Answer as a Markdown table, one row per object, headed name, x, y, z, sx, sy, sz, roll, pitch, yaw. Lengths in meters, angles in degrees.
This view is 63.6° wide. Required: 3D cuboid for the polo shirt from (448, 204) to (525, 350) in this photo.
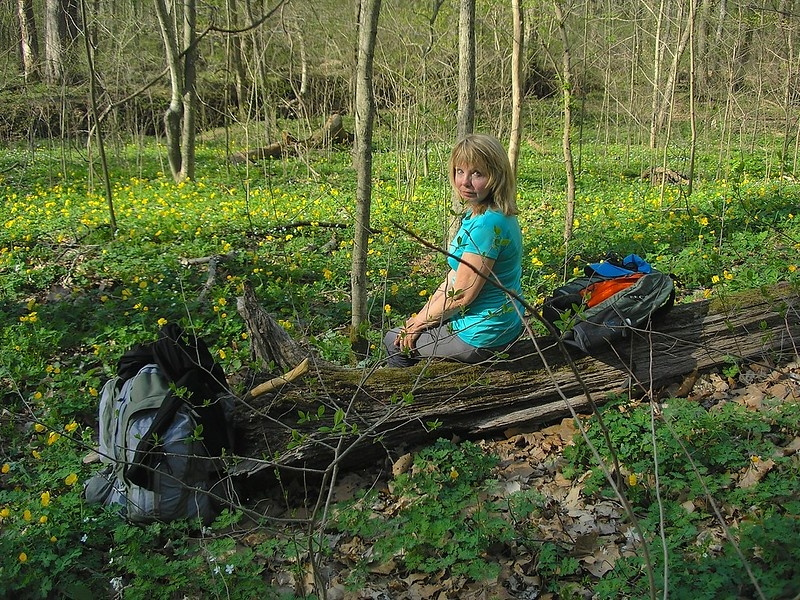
| name | x | y | z | sx | sy | sz | roll | pitch | yaw |
| --- | --- | --- | --- | --- | --- | --- | --- | --- | --- |
| polo shirt | 0.626 | -0.135 | 4.755 | 0.549 | 1.046 | 0.865 | -2 | 12 | 9 |
